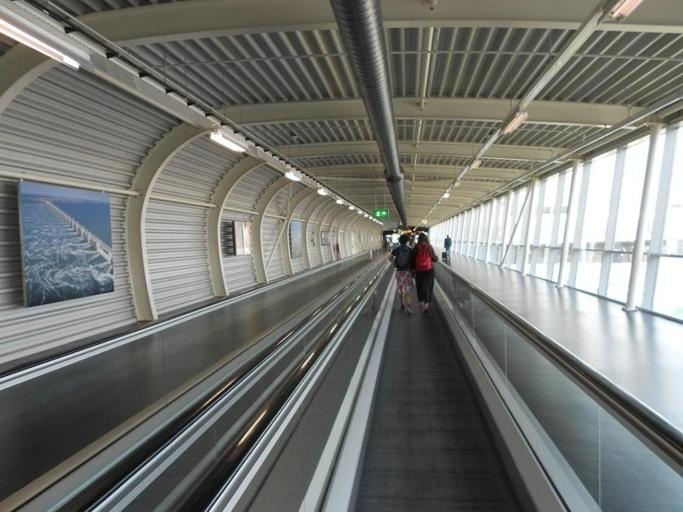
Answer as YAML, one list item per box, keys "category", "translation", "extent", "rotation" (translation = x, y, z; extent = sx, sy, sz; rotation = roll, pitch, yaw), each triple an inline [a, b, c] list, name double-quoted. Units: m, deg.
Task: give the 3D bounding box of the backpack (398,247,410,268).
- category: "backpack"
  translation: [1.523, 0.019, 9.243]
  extent: [0.337, 0.437, 0.500]
  rotation: [0, -56, 5]
